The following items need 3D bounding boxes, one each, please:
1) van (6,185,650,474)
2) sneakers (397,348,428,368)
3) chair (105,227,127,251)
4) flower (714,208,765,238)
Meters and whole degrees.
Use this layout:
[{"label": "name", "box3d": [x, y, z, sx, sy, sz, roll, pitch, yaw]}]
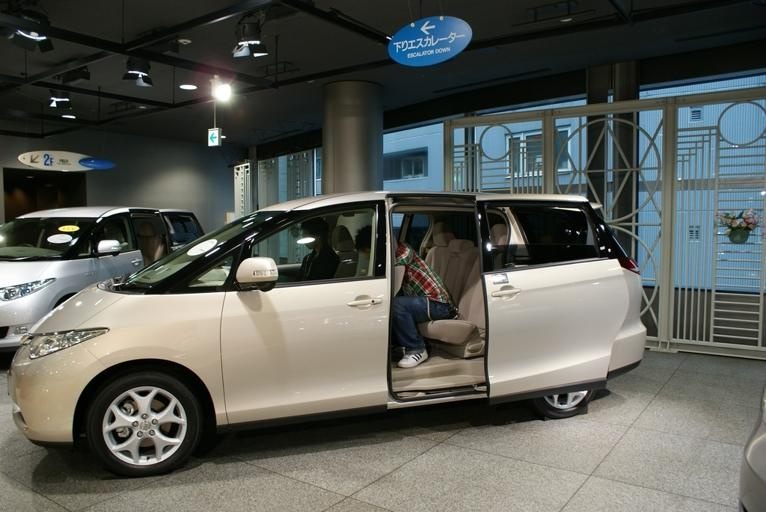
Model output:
[{"label": "van", "box3d": [-0.219, 0.568, 4.793, 4.970, 1.726, 2.411, 0, 0, -16]}, {"label": "sneakers", "box3d": [0.268, 0.901, 4.498, 0.279, 0.107, 0.109, -2, -1, -36]}, {"label": "chair", "box3d": [-3.535, -0.244, 6.889, 0.278, 0.384, 0.327, -1, 0, -10]}, {"label": "flower", "box3d": [4.499, -0.419, 6.533, 0.398, 0.272, 0.390, -2, 4, -19]}]
